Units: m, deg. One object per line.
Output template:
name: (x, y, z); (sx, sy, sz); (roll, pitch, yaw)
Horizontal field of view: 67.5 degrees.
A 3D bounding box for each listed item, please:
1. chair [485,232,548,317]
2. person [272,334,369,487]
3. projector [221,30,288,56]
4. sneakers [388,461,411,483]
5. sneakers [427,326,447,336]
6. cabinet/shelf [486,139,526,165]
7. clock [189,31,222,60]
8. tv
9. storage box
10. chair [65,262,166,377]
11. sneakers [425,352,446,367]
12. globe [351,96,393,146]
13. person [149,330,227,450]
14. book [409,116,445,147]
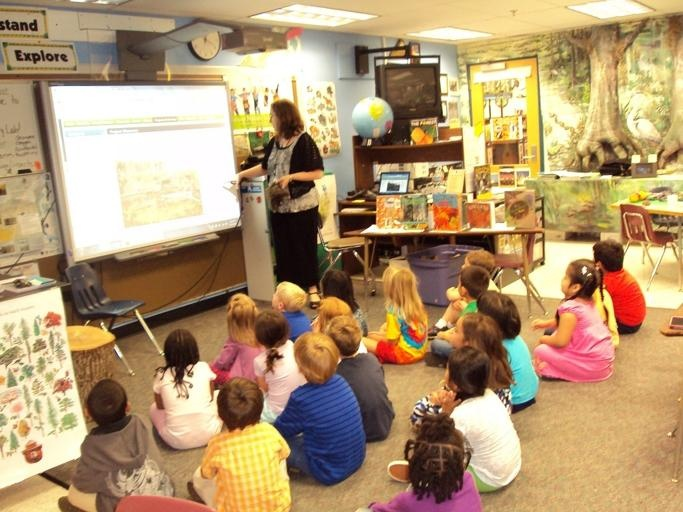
chair: (1.850, 0.089, 5.436); (0.545, 0.900, 0.519); (2, 12, 33)
person: (-0.118, 0.848, 3.119); (0.557, 0.877, 0.682); (5, 19, 17)
projector: (-1.031, -2.423, 5.737); (0.808, 0.254, 0.319); (5, 17, 31)
sneakers: (0.300, 1.115, 2.699); (0.140, 0.251, 0.083); (0, 47, 4)
sneakers: (0.883, 0.701, 4.775); (0.192, 0.086, 0.067); (-4, 12, 10)
cabinet/shelf: (3.241, -2.004, 9.965); (0.828, 0.582, 0.430); (6, 12, 38)
clock: (-1.587, -2.436, 5.946); (0.059, 0.326, 0.443); (10, 20, 43)
tv: (0.899, -2.266, 7.044); (0.881, 0.866, 0.515); (-2, 2, -15)
storage box: (1.129, 0.282, 5.939); (0.515, 0.501, 0.732); (-2, 0, 32)
chair: (-2.114, 0.540, 4.686); (0.728, 0.919, 0.745); (-7, 12, -30)
sneakers: (0.803, 0.877, 4.335); (0.121, 0.050, 0.124); (3, 13, 24)
globe: (0.416, -1.840, 6.813); (0.576, 0.604, 0.588); (-8, 31, -10)
person: (-1.020, 0.840, 3.464); (0.566, 0.765, 0.515); (-8, 13, -33)
book: (1.081, -1.625, 6.649); (0.375, 0.319, 0.538); (-1, 15, 10)
